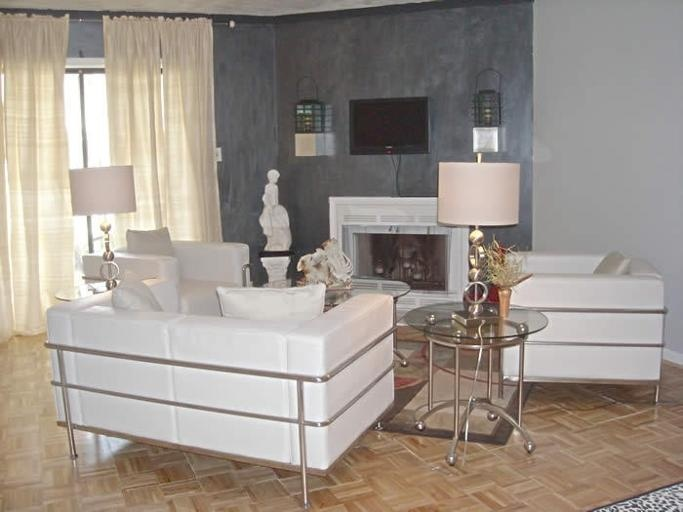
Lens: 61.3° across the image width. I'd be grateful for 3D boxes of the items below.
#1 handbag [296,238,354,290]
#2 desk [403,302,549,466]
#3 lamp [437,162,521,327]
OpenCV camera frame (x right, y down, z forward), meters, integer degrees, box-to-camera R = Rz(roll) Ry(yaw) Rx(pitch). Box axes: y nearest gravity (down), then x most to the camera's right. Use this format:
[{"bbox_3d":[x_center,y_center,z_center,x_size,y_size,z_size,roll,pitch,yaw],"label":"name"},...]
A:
[{"bbox_3d":[-0.123,0.073,5.111,0.663,0.602,0.365,2,8,1],"label":"handbag"},{"bbox_3d":[0.797,0.791,4.149,1.012,1.055,0.996,-6,19,-20],"label":"desk"},{"bbox_3d":[0.868,-0.129,3.710,0.513,0.509,0.797,0,45,20],"label":"lamp"}]
